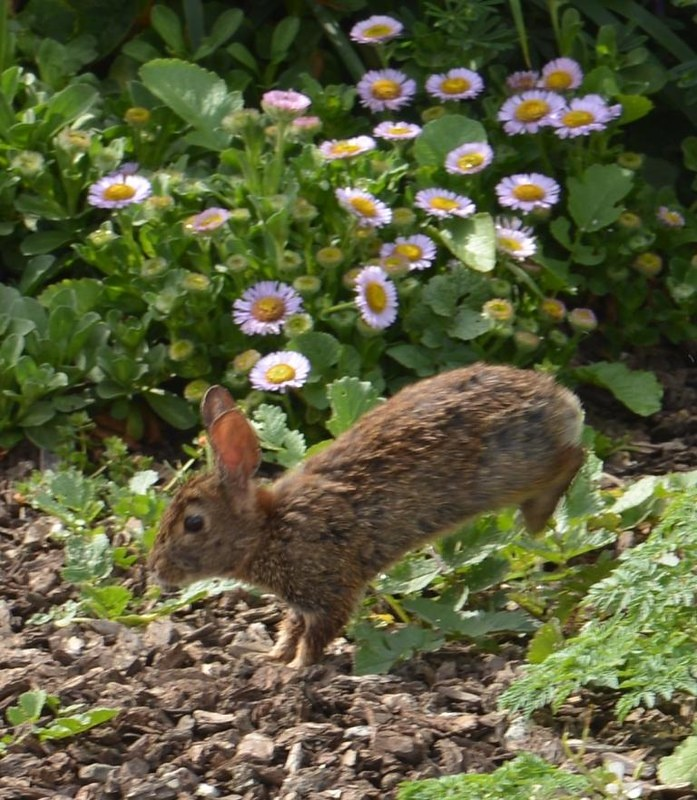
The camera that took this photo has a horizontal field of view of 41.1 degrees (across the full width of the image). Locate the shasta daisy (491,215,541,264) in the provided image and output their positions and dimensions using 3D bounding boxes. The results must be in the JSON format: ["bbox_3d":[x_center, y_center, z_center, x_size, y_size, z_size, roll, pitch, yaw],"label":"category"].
[{"bbox_3d":[0.708,-0.677,3.959,0.297,0.089,0.229,5,52,-10],"label":"shasta daisy"}]

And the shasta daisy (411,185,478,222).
[{"bbox_3d":[0.397,-0.821,3.868,0.212,0.058,0.187,19,18,16],"label":"shasta daisy"}]

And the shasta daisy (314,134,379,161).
[{"bbox_3d":[0.009,-1.068,3.834,0.197,0.059,0.168,-21,-2,-15],"label":"shasta daisy"}]

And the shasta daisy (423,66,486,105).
[{"bbox_3d":[0.519,-1.449,4.358,0.256,0.081,0.197,-17,48,-1],"label":"shasta daisy"}]

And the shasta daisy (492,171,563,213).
[{"bbox_3d":[0.768,-0.888,3.973,0.239,0.136,0.171,21,30,31],"label":"shasta daisy"}]

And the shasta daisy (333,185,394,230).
[{"bbox_3d":[0.067,-0.767,3.758,0.231,0.175,0.299,6,25,2],"label":"shasta daisy"}]

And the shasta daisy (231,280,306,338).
[{"bbox_3d":[-0.320,-0.362,3.687,0.280,0.199,0.293,0,5,31],"label":"shasta daisy"}]

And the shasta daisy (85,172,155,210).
[{"bbox_3d":[-0.962,-0.881,3.918,0.259,0.137,0.279,0,24,-11],"label":"shasta daisy"}]

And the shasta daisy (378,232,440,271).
[{"bbox_3d":[0.254,-0.622,3.845,0.215,0.103,0.314,20,28,30],"label":"shasta daisy"}]

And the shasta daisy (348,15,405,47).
[{"bbox_3d":[0.152,-1.744,4.383,0.256,0.066,0.237,13,34,30],"label":"shasta daisy"}]

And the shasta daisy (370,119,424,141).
[{"bbox_3d":[0.211,-1.190,4.114,0.187,0.055,0.183,-11,20,-41],"label":"shasta daisy"}]

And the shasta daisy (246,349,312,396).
[{"bbox_3d":[-0.247,-0.103,3.460,0.187,0.068,0.196,-44,39,-18],"label":"shasta daisy"}]

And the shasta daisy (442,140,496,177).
[{"bbox_3d":[0.517,-1.024,3.987,0.186,0.159,0.210,6,26,1],"label":"shasta daisy"}]
